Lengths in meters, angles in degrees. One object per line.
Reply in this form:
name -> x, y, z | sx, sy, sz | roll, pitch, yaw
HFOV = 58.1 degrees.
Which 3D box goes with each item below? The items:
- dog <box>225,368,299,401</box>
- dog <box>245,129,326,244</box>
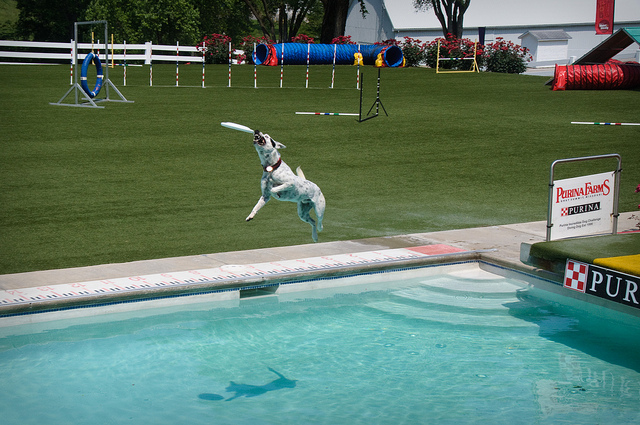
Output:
dog -> -0.853, 2.484, 8.224 | 1.364, 0.213, 0.612 | -3, 6, -17
dog -> -0.616, -0.383, 10.651 | 1.363, 2.246, 0.629 | -13, 19, -39
